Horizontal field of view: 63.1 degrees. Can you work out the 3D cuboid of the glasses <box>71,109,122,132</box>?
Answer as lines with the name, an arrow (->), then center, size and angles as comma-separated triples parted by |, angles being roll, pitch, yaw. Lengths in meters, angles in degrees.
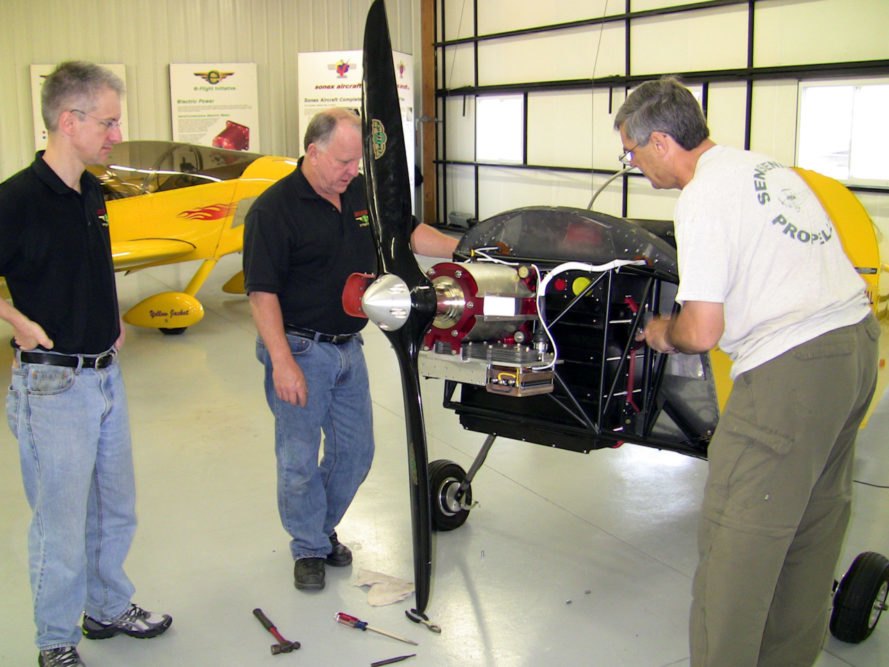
glasses -> -1.042, -0.649, 2.193 | 0.057, 0.056, 0.154 | 10, 17, 33

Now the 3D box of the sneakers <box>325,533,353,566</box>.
sneakers -> -0.419, 0.871, 2.942 | 0.136, 0.146, 0.075 | 2, 8, 8

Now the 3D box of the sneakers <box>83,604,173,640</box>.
sneakers -> -1.099, 0.976, 2.533 | 0.271, 0.127, 0.120 | 1, 4, -13
